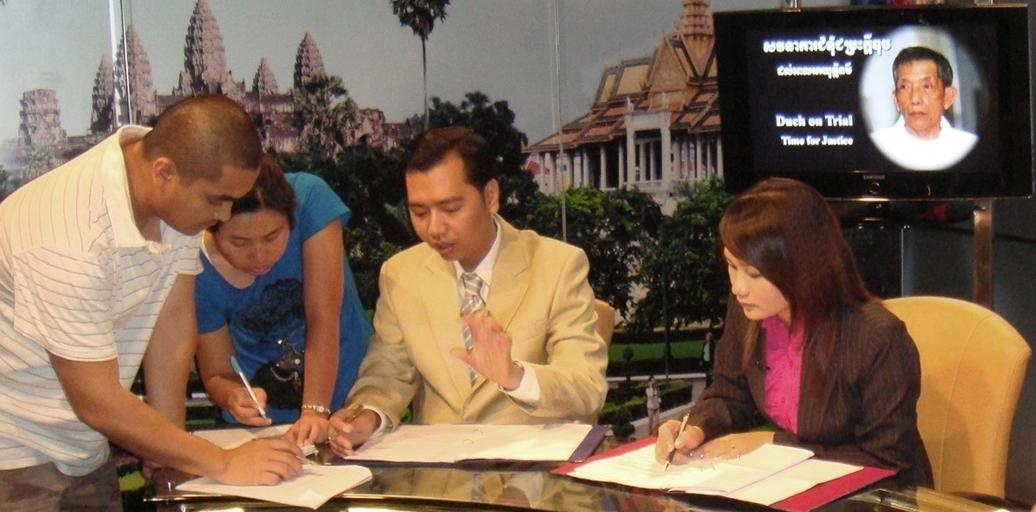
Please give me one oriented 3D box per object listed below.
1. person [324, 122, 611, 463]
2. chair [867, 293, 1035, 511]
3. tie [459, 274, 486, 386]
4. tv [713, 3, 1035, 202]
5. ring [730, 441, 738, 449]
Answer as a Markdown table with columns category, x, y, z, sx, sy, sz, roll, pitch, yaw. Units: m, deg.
| category | x | y | z | sx | sy | sz | roll | pitch | yaw |
| --- | --- | --- | --- | --- | --- | --- | --- | --- | --- |
| person | -0.289 | 0.141 | 5.208 | 1.632 | 1.889 | 0.665 | -2 | 3 | 3 |
| chair | 2.788 | 0.881 | 5.550 | 1.117 | 1.697 | 1.170 | 1 | 2 | 29 |
| tie | -0.286 | 0.451 | 5.331 | 0.140 | 0.740 | 0.126 | -6 | -6 | 2 |
| tv | 2.744 | -1.152 | 6.291 | 1.741 | 0.994 | 0.154 | -1 | 5 | 9 |
| ring | 1.229 | 1.079 | 4.758 | 0.039 | 0.034 | 0.008 | -2 | 5 | -14 |
